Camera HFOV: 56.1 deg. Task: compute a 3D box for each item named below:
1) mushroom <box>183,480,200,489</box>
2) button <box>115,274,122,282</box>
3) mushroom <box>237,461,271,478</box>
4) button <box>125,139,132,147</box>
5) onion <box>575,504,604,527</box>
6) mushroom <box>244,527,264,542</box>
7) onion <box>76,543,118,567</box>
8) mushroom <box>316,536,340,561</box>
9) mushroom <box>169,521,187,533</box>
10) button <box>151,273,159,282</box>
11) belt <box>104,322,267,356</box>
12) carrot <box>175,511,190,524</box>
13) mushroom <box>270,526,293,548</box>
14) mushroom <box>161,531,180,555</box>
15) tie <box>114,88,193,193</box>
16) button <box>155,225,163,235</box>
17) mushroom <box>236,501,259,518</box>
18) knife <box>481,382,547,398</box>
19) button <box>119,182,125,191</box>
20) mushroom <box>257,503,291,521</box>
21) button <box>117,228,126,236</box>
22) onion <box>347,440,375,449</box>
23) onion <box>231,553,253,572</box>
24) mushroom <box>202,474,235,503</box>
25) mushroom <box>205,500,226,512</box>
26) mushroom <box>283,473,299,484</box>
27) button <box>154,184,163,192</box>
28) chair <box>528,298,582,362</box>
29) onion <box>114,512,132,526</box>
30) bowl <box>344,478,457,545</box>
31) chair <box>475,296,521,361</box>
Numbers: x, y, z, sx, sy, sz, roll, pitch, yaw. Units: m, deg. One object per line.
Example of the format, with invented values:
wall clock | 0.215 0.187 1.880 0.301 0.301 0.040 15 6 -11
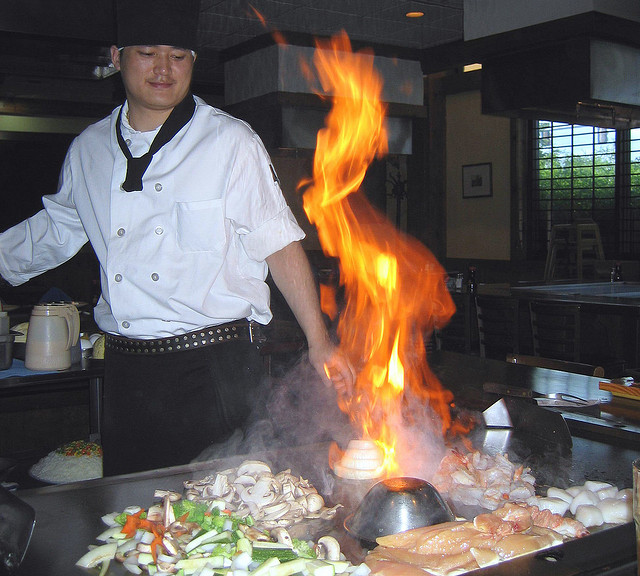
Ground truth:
mushroom | -0.211 0.326 0.995 0.020 0.014 0.039 -1 1 -33
button | -0.462 -0.023 1.379 0.016 0.016 0.003 0 1 12
mushroom | -0.115 0.305 1.024 0.055 0.014 0.049 -1 1 -20
button | -0.456 -0.345 1.432 0.016 0.020 0.005 1 -9 -5
onion | 0.395 0.336 0.892 0.038 0.020 0.042 -1 1 -19
mushroom | -0.090 0.333 0.808 0.023 0.008 0.045 -1 1 4
onion | -0.287 0.344 0.770 0.033 0.020 0.011 -17 -17 -13
mushroom | 0.013 0.343 0.791 0.018 0.026 0.008 -12 -22 -12
mushroom | -0.199 0.332 0.835 0.021 0.007 0.026 -1 1 -37
button | -0.377 -0.024 1.372 0.015 0.018 0.004 -1 -2 -14
belt | -0.320 0.119 1.409 0.363 0.069 0.087 -1 1 0
carrot | -0.197 0.329 0.860 0.012 0.021 0.010 34 18 -8
mushroom | -0.053 0.337 0.813 0.013 0.027 0.038 13 -22 -34
mushroom | -0.192 0.331 0.779 0.005 0.019 0.020 -35 12 1
tie | -0.384 -0.340 1.398 0.138 0.276 0.044 -3 -25 22
button | -0.369 -0.133 1.377 0.017 0.022 0.005 -1 1 -12
mushroom | -0.106 0.331 0.892 0.032 0.013 0.046 -1 1 1
knife | 0.485 0.261 1.548 0.126 0.024 0.025 7 31 40
button | -0.461 -0.239 1.397 0.003 0.015 0.014 8 20 -47
mushroom | -0.063 0.334 0.895 0.053 0.014 0.017 -1 1 -34
button | -0.458 -0.129 1.386 0.018 0.018 0.004 0 1 11
onion | 0.077 0.289 1.111 0.048 0.014 0.026 -1 1 2
onion | -0.092 0.331 0.727 0.028 0.018 0.018 -1 1 -30
mushroom | -0.156 0.317 0.947 0.030 0.033 0.041 3 5 15
mushroom | -0.153 0.320 0.882 0.030 0.010 0.026 -1 1 -14
mushroom | -0.047 0.315 0.994 0.024 0.014 0.046 -1 1 3
button | -0.373 -0.231 1.387 0.018 0.016 0.004 -1 1 8
chair | 1.707 0.307 4.336 0.346 0.456 0.476 0 1 24
onion | -0.289 0.335 0.879 0.021 0.012 0.029 -1 1 -17
bowl | 0.123 0.330 0.927 0.172 0.071 0.186 -4 -12 -1
chair | 1.378 0.300 4.629 0.229 0.521 0.273 -2 10 -8
